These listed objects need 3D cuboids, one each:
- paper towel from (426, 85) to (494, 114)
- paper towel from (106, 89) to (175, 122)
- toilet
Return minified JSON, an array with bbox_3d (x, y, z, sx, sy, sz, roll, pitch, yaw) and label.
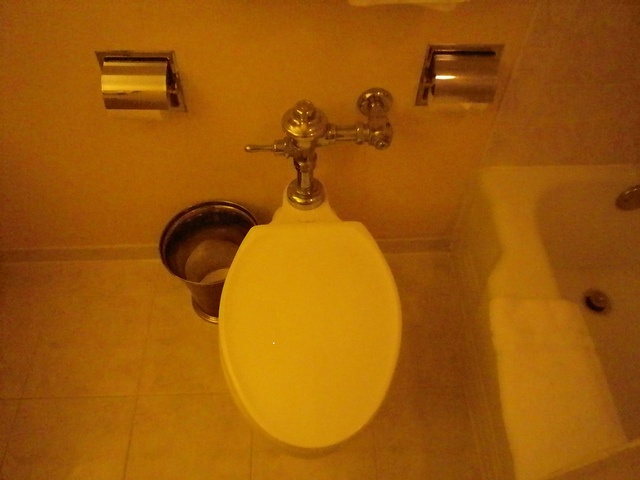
[{"bbox_3d":[0.365,-0.375,1.489,0.105,0.082,0.027,0,21,1],"label":"paper towel"},{"bbox_3d":[-0.466,-0.337,1.448,0.098,0.042,0.085,-1,43,1],"label":"paper towel"},{"bbox_3d":[-0.012,0.097,1.578,0.463,0.598,0.863,-2,67,-1],"label":"toilet"}]
